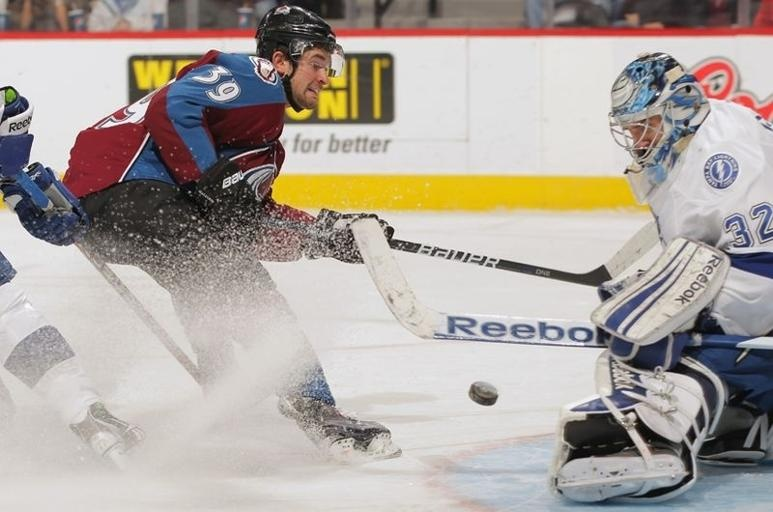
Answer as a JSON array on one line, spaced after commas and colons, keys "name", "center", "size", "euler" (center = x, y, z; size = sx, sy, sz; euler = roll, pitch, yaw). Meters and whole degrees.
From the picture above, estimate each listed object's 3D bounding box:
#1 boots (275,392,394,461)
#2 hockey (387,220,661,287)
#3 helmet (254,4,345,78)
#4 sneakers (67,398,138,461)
[{"name": "boots", "center": [-0.220, 0.716, 5.093], "size": [0.419, 0.097, 0.236], "euler": [9, 12, 8]}, {"name": "hockey", "center": [0.761, -0.005, 6.778], "size": [1.475, 0.146, 0.238], "euler": [7, 54, 5]}, {"name": "helmet", "center": [-0.381, -0.976, 5.412], "size": [0.382, 0.300, 0.277], "euler": [3, 10, 1]}, {"name": "sneakers", "center": [-1.151, 0.714, 4.945], "size": [0.253, 0.220, 0.151], "euler": [9, 23, 27]}]
